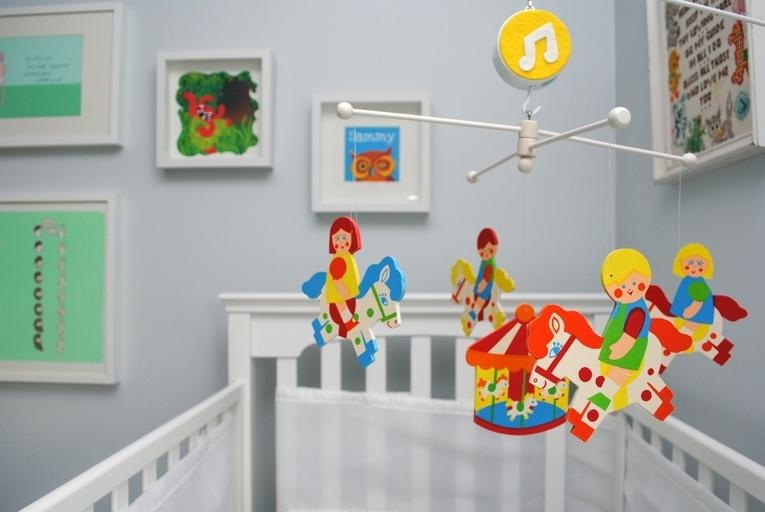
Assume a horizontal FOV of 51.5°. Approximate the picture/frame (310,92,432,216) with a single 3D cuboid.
[{"bbox_3d":[-0.042,-0.359,2.827,0.344,0.392,0.042,1,3,2],"label":"picture/frame"}]
